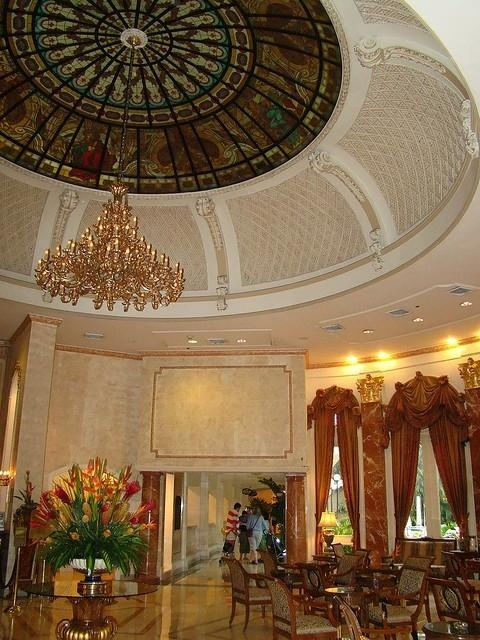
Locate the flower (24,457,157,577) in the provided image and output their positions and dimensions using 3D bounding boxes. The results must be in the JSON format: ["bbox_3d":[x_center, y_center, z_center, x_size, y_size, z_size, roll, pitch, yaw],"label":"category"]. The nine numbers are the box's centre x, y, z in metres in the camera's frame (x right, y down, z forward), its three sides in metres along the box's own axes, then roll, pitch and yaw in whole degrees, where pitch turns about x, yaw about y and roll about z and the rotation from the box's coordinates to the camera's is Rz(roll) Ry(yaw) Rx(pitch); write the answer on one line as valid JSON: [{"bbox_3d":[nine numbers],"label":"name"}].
[{"bbox_3d":[-0.877,1.251,2.690,0.548,0.618,0.529,7,-16,-38],"label":"flower"}]
